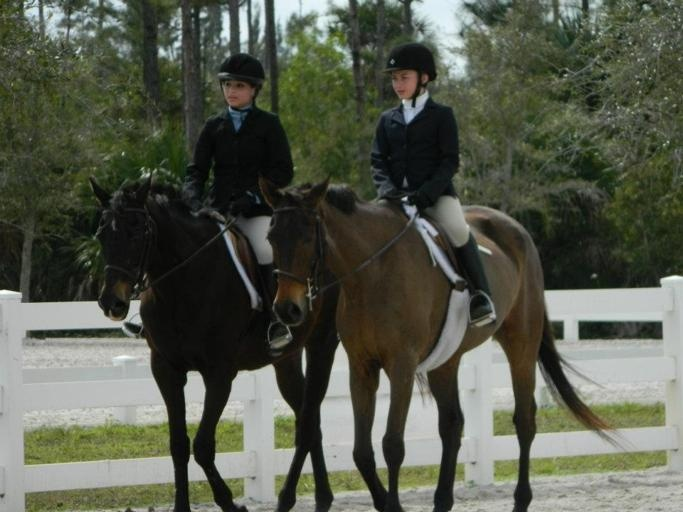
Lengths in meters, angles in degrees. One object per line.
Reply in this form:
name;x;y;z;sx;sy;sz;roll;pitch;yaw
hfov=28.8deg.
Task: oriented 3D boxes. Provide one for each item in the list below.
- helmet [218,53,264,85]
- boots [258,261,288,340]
helmet;-1.757;-3.329;23.936;0.480;0.416;0.669;-3;-12;34
boots;-1.172;0.976;23.777;0.351;1.721;0.551;-8;-6;8
